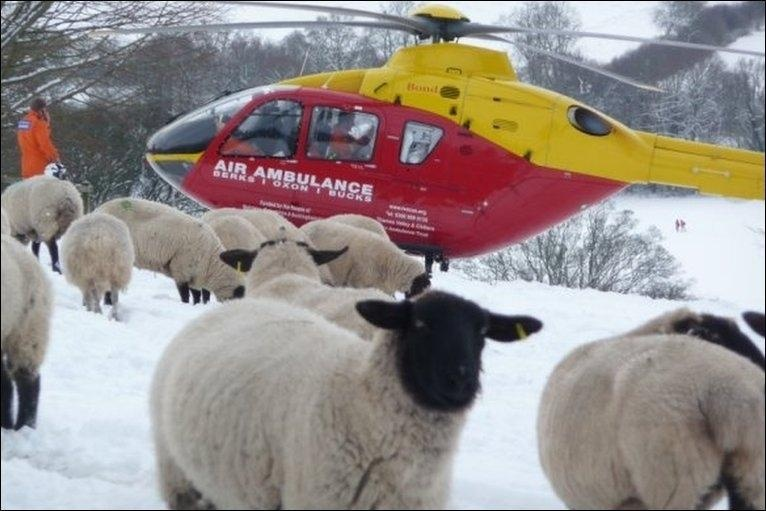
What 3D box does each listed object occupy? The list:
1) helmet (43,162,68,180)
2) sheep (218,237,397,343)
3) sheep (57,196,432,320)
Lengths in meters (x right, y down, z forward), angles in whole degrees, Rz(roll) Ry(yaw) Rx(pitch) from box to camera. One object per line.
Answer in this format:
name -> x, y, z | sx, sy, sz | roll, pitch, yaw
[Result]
helmet -> -2.901, -0.743, 7.620 | 0.162, 0.189, 0.497 | 0, -2, -16
sheep -> -0.506, 0.193, 5.505 | 0.528, 0.596, 1.237 | 0, 3, -38
sheep -> -1.265, 0.005, 8.468 | 3.359, 1.587, 1.142 | -1, 2, -8
